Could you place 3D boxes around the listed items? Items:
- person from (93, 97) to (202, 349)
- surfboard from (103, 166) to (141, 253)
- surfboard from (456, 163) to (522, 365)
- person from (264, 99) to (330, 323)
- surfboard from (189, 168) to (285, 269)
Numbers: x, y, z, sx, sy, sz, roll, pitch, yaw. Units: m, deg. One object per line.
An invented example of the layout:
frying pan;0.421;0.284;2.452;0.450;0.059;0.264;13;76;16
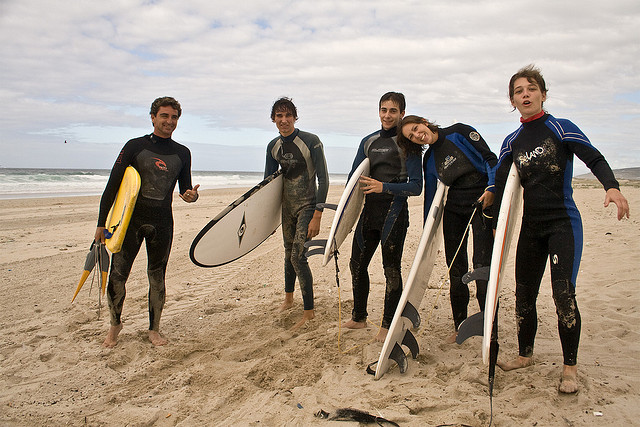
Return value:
person;-2.187;0.103;6.240;1.309;2.967;0.634;-8;16;-24
surfboard;-2.407;-0.023;6.084;0.171;0.990;0.585;19;2;-28
surfboard;1.763;0.449;4.941;0.229;1.931;0.724;12;-3;-8
person;-0.269;-0.048;6.625;0.739;2.836;1.073;-8;16;-22
surfboard;-1.123;0.097;6.724;0.238;0.645;2.016;18;46;41
